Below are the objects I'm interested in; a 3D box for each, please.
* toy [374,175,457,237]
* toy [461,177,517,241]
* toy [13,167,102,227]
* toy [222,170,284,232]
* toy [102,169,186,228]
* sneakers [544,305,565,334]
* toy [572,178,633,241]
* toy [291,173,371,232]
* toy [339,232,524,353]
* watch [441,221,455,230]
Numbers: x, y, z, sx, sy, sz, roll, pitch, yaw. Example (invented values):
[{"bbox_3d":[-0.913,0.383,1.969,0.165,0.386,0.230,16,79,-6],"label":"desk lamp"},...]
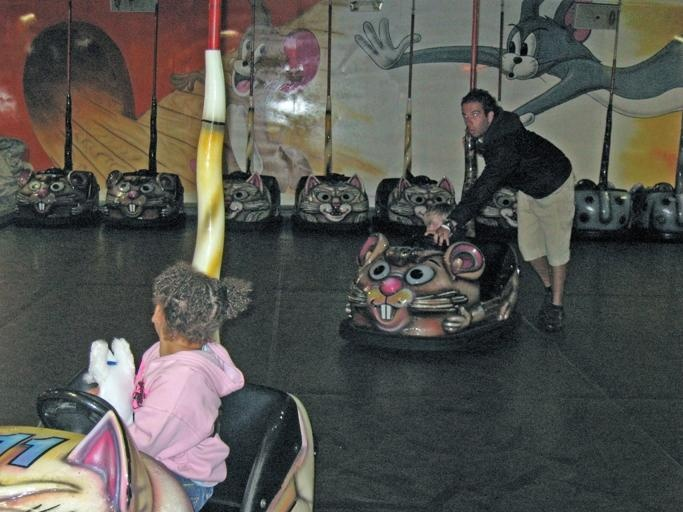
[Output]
[{"bbox_3d":[0.721,-0.532,6.928,0.511,0.456,0.832,0,1,-8],"label":"toy"},{"bbox_3d":[1.582,-0.438,6.601,0.774,0.603,0.340,-5,30,-2],"label":"toy"},{"bbox_3d":[-2.961,-0.590,6.707,0.521,0.375,0.731,0,3,-4],"label":"toy"},{"bbox_3d":[-0.974,-0.487,7.194,0.755,0.814,0.736,0,-2,-7],"label":"toy"},{"bbox_3d":[-2.053,-0.592,6.891,0.519,0.401,0.728,1,1,-2],"label":"toy"},{"bbox_3d":[1.170,0.327,3.582,0.080,0.192,0.077,1,-23,16],"label":"sneakers"},{"bbox_3d":[2.698,-0.460,6.727,0.588,0.515,0.230,-2,12,-15],"label":"toy"},{"bbox_3d":[-0.110,-0.567,6.960,0.806,0.579,0.586,0,12,-4],"label":"toy"},{"bbox_3d":[0.524,0.162,3.632,0.846,0.511,1.101,5,10,37],"label":"toy"},{"bbox_3d":[0.536,-0.151,3.239,0.044,0.018,0.049,22,37,22],"label":"watch"}]
